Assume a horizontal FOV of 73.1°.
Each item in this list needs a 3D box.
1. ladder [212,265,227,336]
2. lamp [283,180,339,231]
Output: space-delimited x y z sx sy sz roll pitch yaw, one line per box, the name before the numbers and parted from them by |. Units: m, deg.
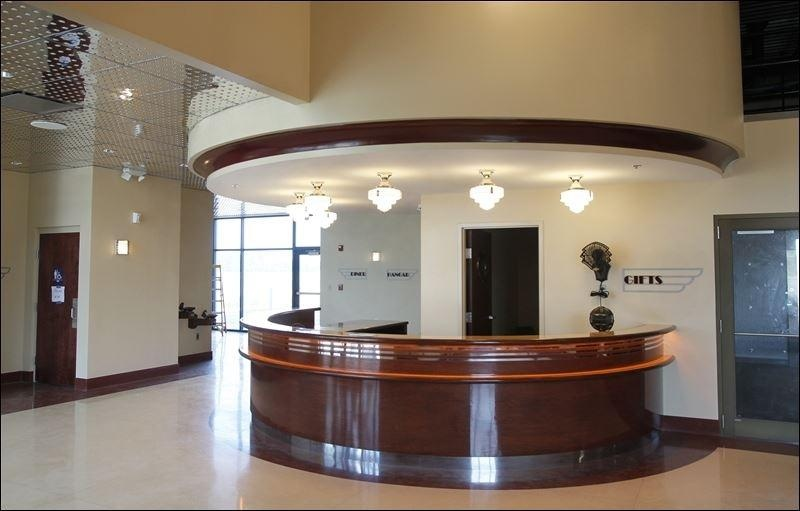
ladder | -5.338 1.277 15.932 0.371 2.005 1.072 -2 5 -18
lamp | -1.322 -0.716 7.979 0.721 0.414 0.684 2 2 -8
